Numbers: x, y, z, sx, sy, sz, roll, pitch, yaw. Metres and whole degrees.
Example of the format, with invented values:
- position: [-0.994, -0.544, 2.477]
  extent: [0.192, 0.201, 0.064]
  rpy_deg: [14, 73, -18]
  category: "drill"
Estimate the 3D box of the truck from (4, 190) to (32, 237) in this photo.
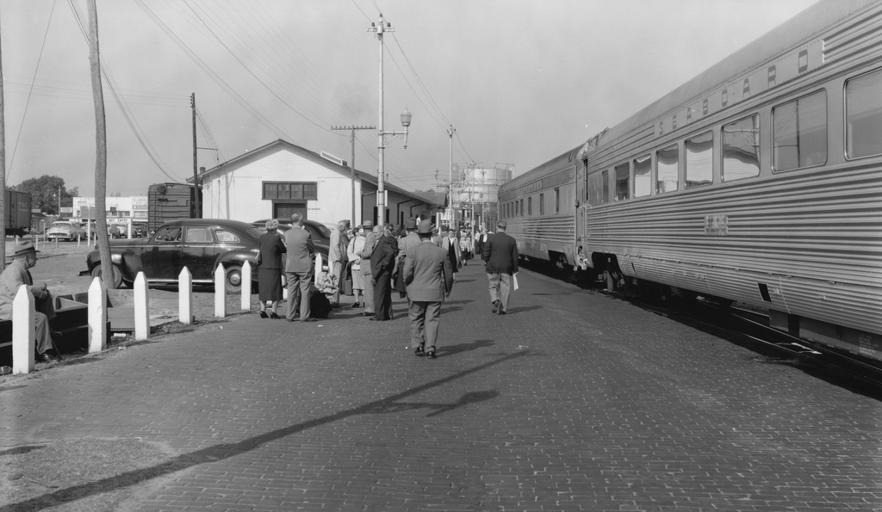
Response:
- position: [-33.036, -3.506, 60.820]
  extent: [1.423, 3.925, 6.531]
  rpy_deg: [-5, 12, -24]
  category: "truck"

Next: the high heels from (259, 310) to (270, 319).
- position: [-4.279, 1.413, 18.813]
  extent: [0.107, 0.148, 0.358]
  rpy_deg: [3, 5, 18]
  category: "high heels"

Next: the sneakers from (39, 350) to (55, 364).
- position: [-6.961, 1.793, 13.791]
  extent: [0.251, 0.167, 0.269]
  rpy_deg: [-9, 14, -39]
  category: "sneakers"

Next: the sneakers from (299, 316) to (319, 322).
- position: [-3.124, 1.505, 18.301]
  extent: [0.511, 0.223, 0.164]
  rpy_deg: [-4, -2, 20]
  category: "sneakers"

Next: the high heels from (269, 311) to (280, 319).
- position: [-3.994, 1.419, 18.517]
  extent: [0.130, 0.132, 0.259]
  rpy_deg: [1, -18, -4]
  category: "high heels"

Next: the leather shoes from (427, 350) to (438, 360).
- position: [-0.182, 1.790, 14.246]
  extent: [0.191, 0.143, 0.260]
  rpy_deg: [-1, 11, -4]
  category: "leather shoes"

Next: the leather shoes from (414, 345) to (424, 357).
- position: [-0.395, 1.760, 14.388]
  extent: [0.181, 0.151, 0.234]
  rpy_deg: [-2, 11, -11]
  category: "leather shoes"

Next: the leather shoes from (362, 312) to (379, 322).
- position: [-1.776, 1.478, 19.003]
  extent: [0.477, 0.207, 0.165]
  rpy_deg: [7, -5, -2]
  category: "leather shoes"

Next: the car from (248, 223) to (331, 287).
- position: [-5.234, -0.162, 26.782]
  extent: [3.233, 1.788, 1.884]
  rpy_deg: [2, 3, 4]
  category: "car"

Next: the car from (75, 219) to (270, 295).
- position: [-7.978, -0.155, 23.180]
  extent: [5.706, 2.161, 2.353]
  rpy_deg: [2, 1, 10]
  category: "car"
